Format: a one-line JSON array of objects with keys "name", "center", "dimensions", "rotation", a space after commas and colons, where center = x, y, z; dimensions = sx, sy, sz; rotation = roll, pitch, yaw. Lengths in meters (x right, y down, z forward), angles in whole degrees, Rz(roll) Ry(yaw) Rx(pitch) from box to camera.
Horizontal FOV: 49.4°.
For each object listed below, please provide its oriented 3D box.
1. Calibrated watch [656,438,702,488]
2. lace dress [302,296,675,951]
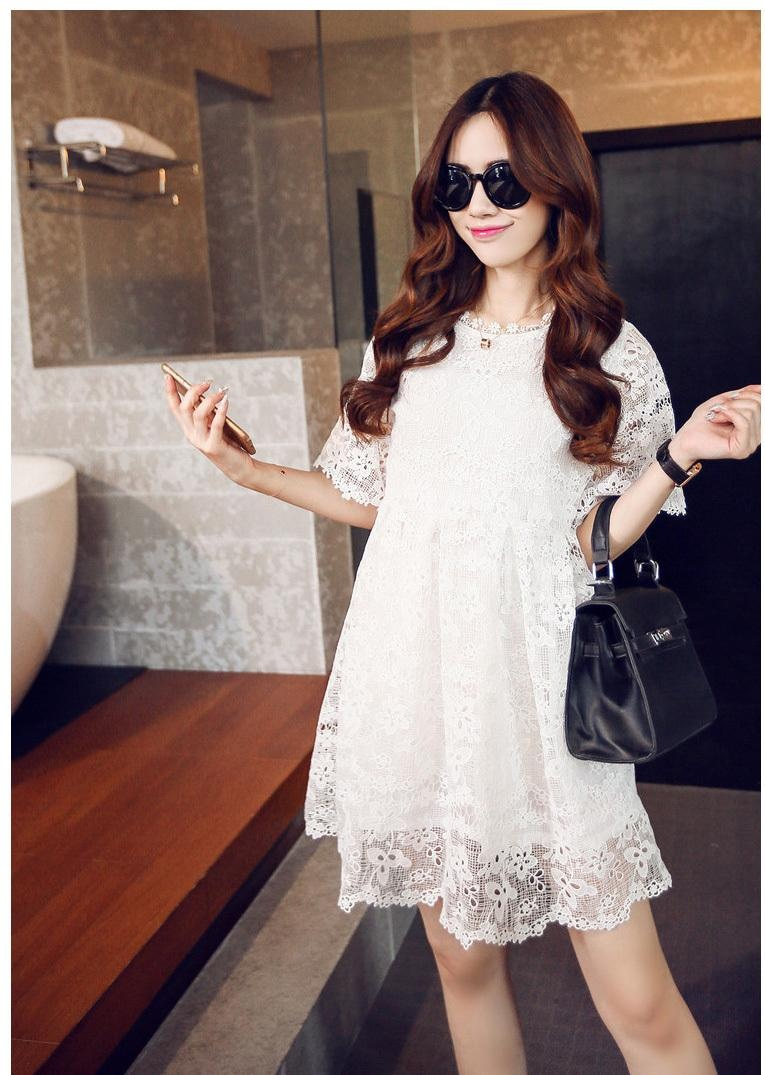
[{"name": "Calibrated watch", "center": [0.352, -0.092, 0.996], "dimensions": [0.050, 0.033, 0.052], "rotation": [30, 35, -12]}, {"name": "lace dress", "center": [0.157, 0.114, 1.141], "dimensions": [0.460, 0.828, 0.316], "rotation": [2, 12, 20]}]
